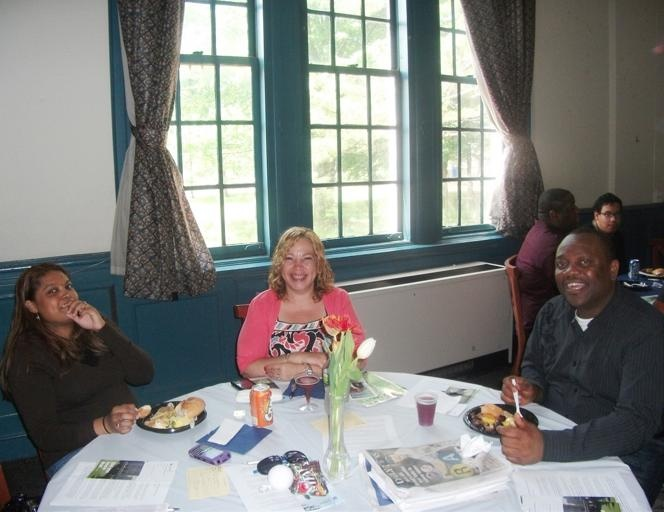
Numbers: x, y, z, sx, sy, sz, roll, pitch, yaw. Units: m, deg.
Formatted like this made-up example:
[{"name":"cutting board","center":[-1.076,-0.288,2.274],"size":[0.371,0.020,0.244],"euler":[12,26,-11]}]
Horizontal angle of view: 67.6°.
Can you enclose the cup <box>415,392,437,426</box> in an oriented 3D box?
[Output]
[{"name":"cup","center":[0.348,0.572,1.879],"size":[0.094,0.109,0.097],"euler":[-1,4,0]}]

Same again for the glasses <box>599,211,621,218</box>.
[{"name":"glasses","center":[2.294,-0.344,4.056],"size":[0.145,0.051,0.052],"euler":[-6,8,3]}]

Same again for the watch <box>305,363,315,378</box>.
[{"name":"watch","center":[-0.096,0.503,2.154],"size":[0.033,0.086,0.033],"euler":[3,32,19]}]

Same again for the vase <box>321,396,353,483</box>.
[{"name":"vase","center":[0.004,0.577,1.595],"size":[0.092,0.277,0.096],"euler":[-7,8,-2]}]

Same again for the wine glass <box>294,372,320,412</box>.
[{"name":"wine glass","center":[-0.105,0.530,1.979],"size":[0.122,0.141,0.116],"euler":[-4,6,-39]}]

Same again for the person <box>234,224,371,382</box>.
[{"name":"person","center":[-0.069,0.161,2.572],"size":[0.854,0.981,0.614],"euler":[0,-8,-10]}]
